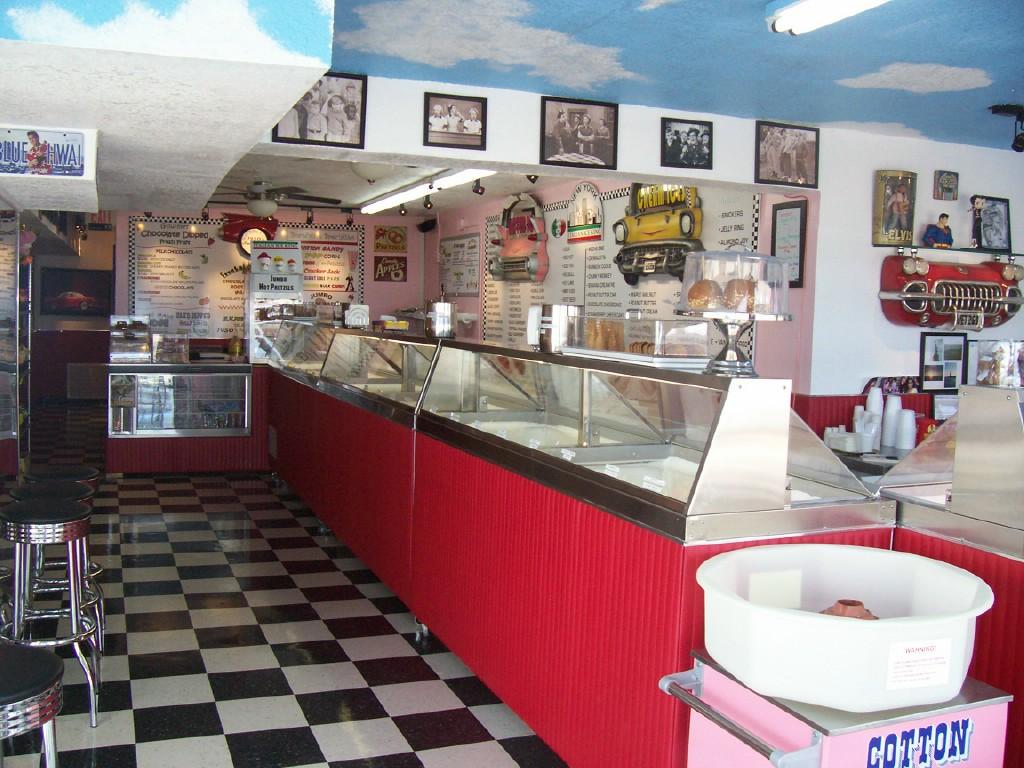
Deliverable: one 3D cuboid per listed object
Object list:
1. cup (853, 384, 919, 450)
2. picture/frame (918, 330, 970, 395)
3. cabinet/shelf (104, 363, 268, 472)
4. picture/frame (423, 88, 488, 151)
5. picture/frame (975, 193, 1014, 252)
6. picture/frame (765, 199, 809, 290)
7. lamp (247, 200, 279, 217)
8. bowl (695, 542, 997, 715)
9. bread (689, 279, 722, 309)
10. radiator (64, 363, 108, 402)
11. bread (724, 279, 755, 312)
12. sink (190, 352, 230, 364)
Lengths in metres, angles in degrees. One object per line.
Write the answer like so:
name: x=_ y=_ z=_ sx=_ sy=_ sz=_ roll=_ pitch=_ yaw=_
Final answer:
cup: x=2.731 y=0.290 z=6.029 sx=0.442 sy=0.558 sz=0.526 roll=1 pitch=-3 yaw=-6
picture/frame: x=3.374 y=-0.181 z=6.255 sx=0.571 sy=0.572 sz=0.052 roll=-1 pitch=4 yaw=-22
cabinet/shelf: x=-3.516 y=0.171 z=8.771 sx=2.227 sy=1.405 sz=1.094 roll=0 pitch=0 yaw=-14
picture/frame: x=-0.379 y=-1.699 z=5.101 sx=0.452 sy=0.321 sz=0.046 roll=2 pitch=0 yaw=-15
picture/frame: x=3.850 y=-1.289 z=6.377 sx=0.530 sy=0.499 sz=0.042 roll=1 pitch=2 yaw=-27
picture/frame: x=2.085 y=-1.048 z=6.012 sx=0.084 sy=0.641 sz=0.333 roll=-2 pitch=8 yaw=-29
lamp: x=-3.012 y=-2.114 z=9.627 sx=0.232 sy=0.134 sz=0.220 roll=0 pitch=8 yaw=-4
bowl: x=0.914 y=0.692 z=2.299 sx=0.773 sy=0.324 sz=0.545 roll=0 pitch=7 yaw=-10
bread: x=0.840 y=-0.396 z=3.502 sx=0.072 sy=0.123 sz=0.168 roll=-3 pitch=8 yaw=-35
radiator: x=-7.369 y=-0.046 z=13.739 sx=0.684 sy=0.597 sz=0.360 roll=-1 pitch=13 yaw=-28
bread: x=0.979 y=-0.380 z=3.438 sx=0.144 sy=0.133 sz=0.141 roll=-2 pitch=6 yaw=-16
sink: x=-3.454 y=-0.299 z=9.120 sx=0.366 sy=0.098 sz=1.735 roll=-1 pitch=7 yaw=-23
